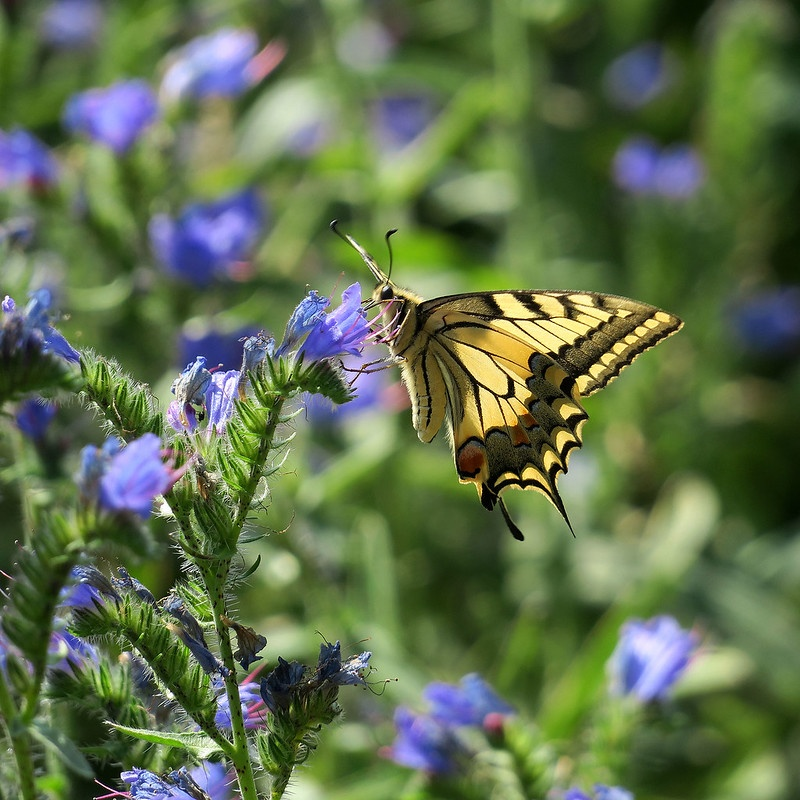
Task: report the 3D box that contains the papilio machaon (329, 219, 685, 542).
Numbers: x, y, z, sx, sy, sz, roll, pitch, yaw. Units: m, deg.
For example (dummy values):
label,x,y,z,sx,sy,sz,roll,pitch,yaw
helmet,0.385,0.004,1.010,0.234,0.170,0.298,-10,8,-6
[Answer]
label,x,y,z,sx,sy,sz,roll,pitch,yaw
papilio machaon,0.193,-0.061,2.062,0.521,0.529,0.338,28,57,24
